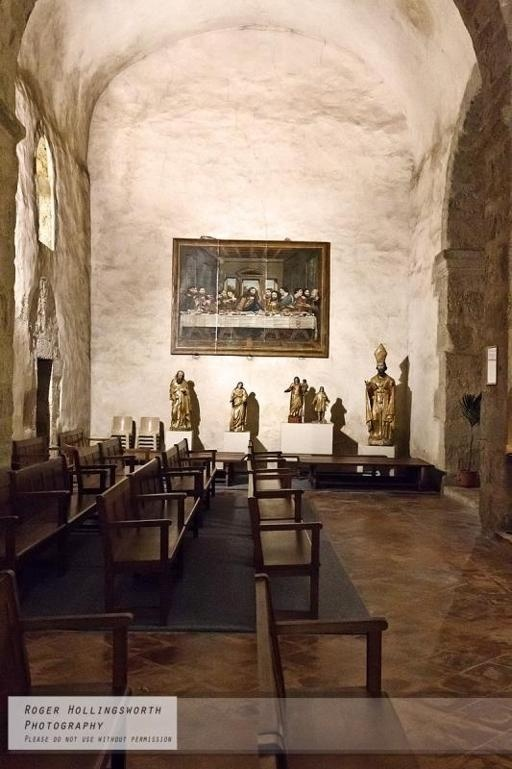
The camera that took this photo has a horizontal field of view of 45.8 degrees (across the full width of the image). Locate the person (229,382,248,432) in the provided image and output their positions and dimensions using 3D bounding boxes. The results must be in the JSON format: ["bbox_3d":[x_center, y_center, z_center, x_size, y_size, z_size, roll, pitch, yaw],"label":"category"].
[{"bbox_3d":[-0.381,0.425,11.683,0.292,0.946,0.239,1,2,-5],"label":"person"}]

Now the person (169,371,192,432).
[{"bbox_3d":[-1.511,0.301,11.752,0.408,1.138,0.392,1,2,-2],"label":"person"}]

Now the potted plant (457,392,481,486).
[{"bbox_3d":[3.368,0.862,9.495,0.326,1.438,0.744,2,2,19],"label":"potted plant"}]

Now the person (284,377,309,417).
[{"bbox_3d":[0.758,0.272,11.836,0.394,0.872,0.520,1,2,5],"label":"person"}]

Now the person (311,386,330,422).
[{"bbox_3d":[1.284,0.385,12.084,0.315,0.717,0.882,1,2,6],"label":"person"}]
